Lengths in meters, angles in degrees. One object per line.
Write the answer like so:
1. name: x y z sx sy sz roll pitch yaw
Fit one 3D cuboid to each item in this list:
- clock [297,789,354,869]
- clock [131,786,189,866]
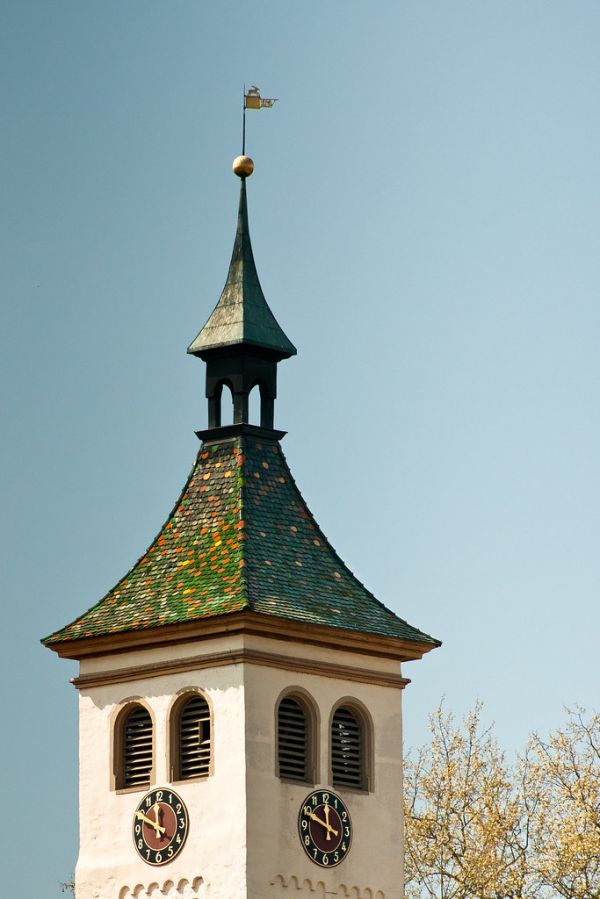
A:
1. clock: 0.332 5.716 41.071 0.043 1.271 1.046 -11 -6 27
2. clock: -2.100 5.627 40.693 0.047 1.081 0.859 11 -15 -34
